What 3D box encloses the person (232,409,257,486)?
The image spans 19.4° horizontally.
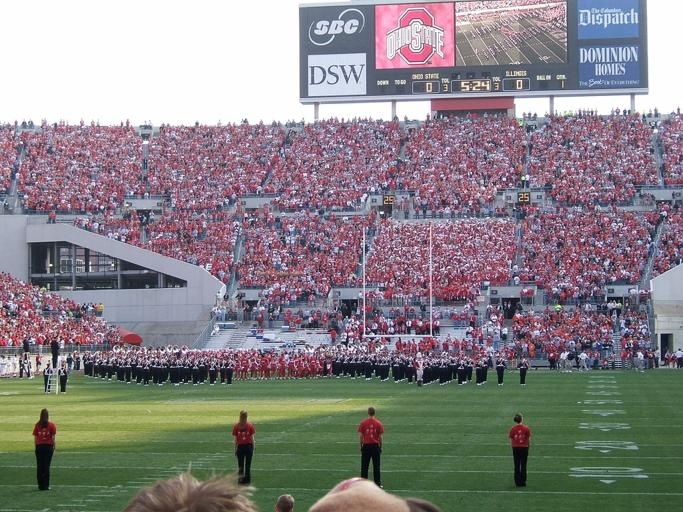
[{"bbox_3d":[-4.103,7.831,82.895,1.257,2.908,1.018,3,2,-13],"label":"person"}]

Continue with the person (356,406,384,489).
[{"bbox_3d":[1.103,7.959,82.959,1.255,3.307,1.002,0,-1,-17],"label":"person"}]

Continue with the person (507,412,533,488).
[{"bbox_3d":[7.575,7.999,83.386,1.158,2.879,1.028,-1,-3,28],"label":"person"}]

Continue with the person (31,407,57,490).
[{"bbox_3d":[-12.234,7.979,83.228,1.193,3.291,1.027,-2,-4,27],"label":"person"}]
